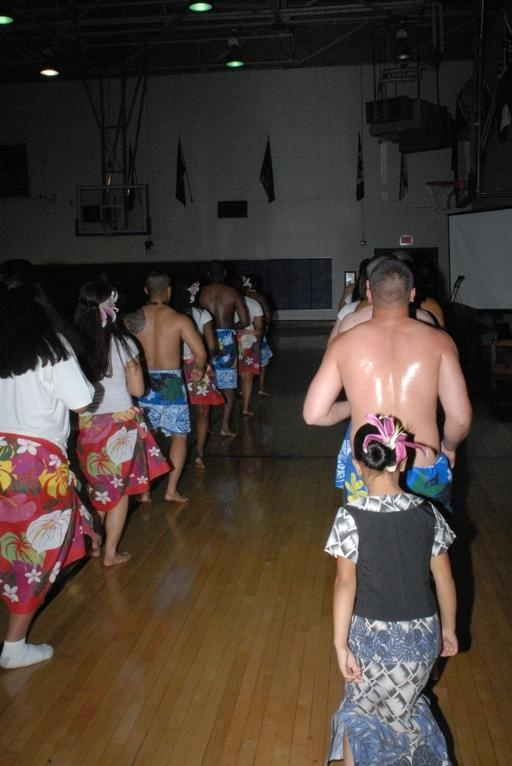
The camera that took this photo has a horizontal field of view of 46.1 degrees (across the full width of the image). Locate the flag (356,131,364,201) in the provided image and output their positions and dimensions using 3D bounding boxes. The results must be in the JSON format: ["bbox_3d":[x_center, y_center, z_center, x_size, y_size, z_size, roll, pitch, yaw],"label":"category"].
[{"bbox_3d":[1.908,-3.977,11.052,0.166,1.228,0.189,-1,9,9],"label":"flag"}]

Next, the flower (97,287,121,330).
[{"bbox_3d":[-0.630,-0.314,2.554,0.078,0.157,0.048,-8,11,-37],"label":"flower"}]

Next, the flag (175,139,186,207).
[{"bbox_3d":[-1.414,-3.951,11.189,0.241,1.211,0.544,-3,9,-7],"label":"flag"}]

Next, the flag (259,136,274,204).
[{"bbox_3d":[0.201,-4.000,11.220,0.280,1.229,0.288,-2,9,0],"label":"flag"}]

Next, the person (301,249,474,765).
[{"bbox_3d":[0.403,0.011,1.746,0.398,0.733,0.377,5,11,37],"label":"person"}]

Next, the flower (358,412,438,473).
[{"bbox_3d":[0.257,0.122,1.234,0.110,0.115,0.070,-1,9,4],"label":"flower"}]
